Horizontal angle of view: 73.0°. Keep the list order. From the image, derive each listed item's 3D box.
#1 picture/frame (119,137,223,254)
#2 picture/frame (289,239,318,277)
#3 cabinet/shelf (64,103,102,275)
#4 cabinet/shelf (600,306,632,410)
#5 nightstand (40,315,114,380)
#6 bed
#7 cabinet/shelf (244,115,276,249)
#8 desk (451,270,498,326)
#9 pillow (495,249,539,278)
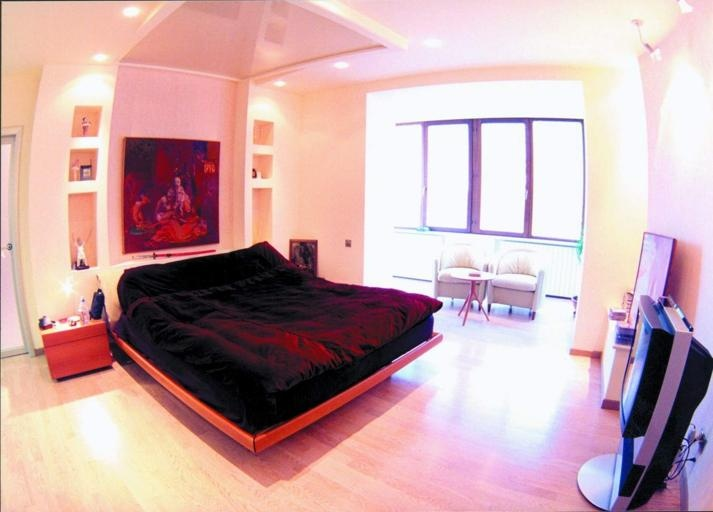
[{"bbox_3d":[-1.201,-0.402,3.066,0.037,0.826,0.719,9,10,36],"label":"picture/frame"},{"bbox_3d":[-0.552,0.014,4.953,0.378,0.514,0.059,-1,2,-35],"label":"picture/frame"},{"bbox_3d":[-1.555,-0.391,2.760,0.179,0.917,0.104,1,6,-26],"label":"cabinet/shelf"},{"bbox_3d":[2.009,0.797,3.719,0.222,0.592,0.704,2,5,21],"label":"cabinet/shelf"},{"bbox_3d":[-2.244,0.688,3.870,0.431,0.421,0.300,-12,28,-33],"label":"nightstand"},{"bbox_3d":[-0.688,0.602,3.426,1.792,0.619,1.806,10,13,40],"label":"bed"},{"bbox_3d":[-0.820,-0.595,3.962,0.151,1.015,0.415,5,9,17],"label":"cabinet/shelf"},{"bbox_3d":[1.346,0.458,5.649,0.459,0.543,0.774,2,7,0],"label":"desk"},{"bbox_3d":[1.977,0.084,5.890,0.388,0.349,0.340,-1,7,29],"label":"pillow"}]
